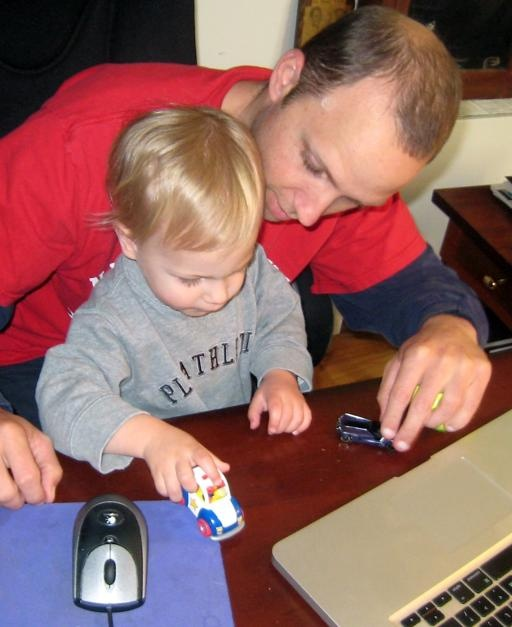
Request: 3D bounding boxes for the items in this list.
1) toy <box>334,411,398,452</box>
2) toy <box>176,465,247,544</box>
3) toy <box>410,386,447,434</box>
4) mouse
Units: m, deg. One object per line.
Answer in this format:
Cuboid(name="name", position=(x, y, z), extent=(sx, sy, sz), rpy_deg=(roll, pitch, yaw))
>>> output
Cuboid(name="toy", position=(0.141, 0.150, 0.702), extent=(0.063, 0.017, 0.035), rpy_deg=(10, 42, -3))
Cuboid(name="toy", position=(-0.047, 0.200, 0.583), extent=(0.046, 0.045, 0.076), rpy_deg=(-27, 52, -28))
Cuboid(name="toy", position=(0.229, 0.133, 0.758), extent=(0.023, 0.054, 0.057), rpy_deg=(-15, 42, -12))
Cuboid(name="mouse", position=(-0.144, 0.225, 0.541), extent=(0.074, 0.036, 0.119), rpy_deg=(3, 32, -21))
